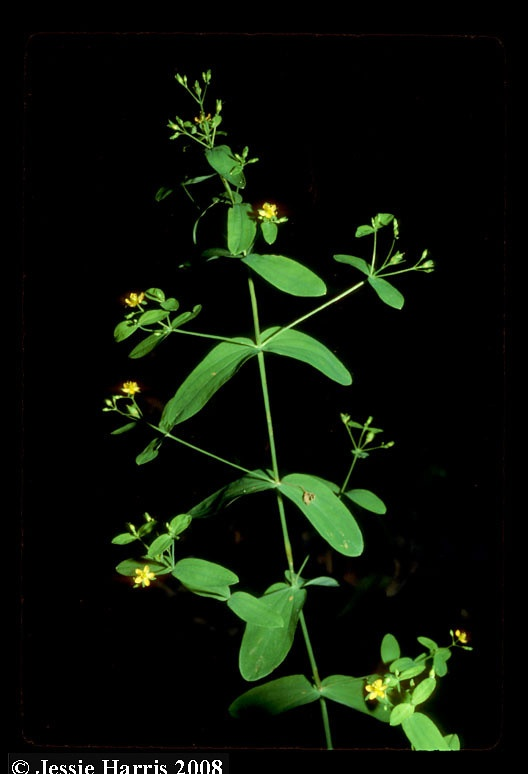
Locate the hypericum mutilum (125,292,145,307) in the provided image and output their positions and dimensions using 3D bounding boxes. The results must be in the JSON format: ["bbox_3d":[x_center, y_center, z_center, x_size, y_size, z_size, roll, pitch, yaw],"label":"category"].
[{"bbox_3d":[-0.256,-0.173,1.416,0.033,0.017,0.032,-16,-16,-22],"label":"hypericum mutilum"}]

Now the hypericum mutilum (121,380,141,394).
[{"bbox_3d":[-0.272,0.005,1.441,0.028,0.031,0.012,-2,-7,-17],"label":"hypericum mutilum"}]

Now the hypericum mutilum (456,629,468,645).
[{"bbox_3d":[0.402,0.526,1.463,0.023,0.032,0.033,-2,-5,23],"label":"hypericum mutilum"}]

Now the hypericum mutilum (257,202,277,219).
[{"bbox_3d":[0.005,-0.310,1.255,0.030,0.037,0.048,0,-4,-3],"label":"hypericum mutilum"}]
